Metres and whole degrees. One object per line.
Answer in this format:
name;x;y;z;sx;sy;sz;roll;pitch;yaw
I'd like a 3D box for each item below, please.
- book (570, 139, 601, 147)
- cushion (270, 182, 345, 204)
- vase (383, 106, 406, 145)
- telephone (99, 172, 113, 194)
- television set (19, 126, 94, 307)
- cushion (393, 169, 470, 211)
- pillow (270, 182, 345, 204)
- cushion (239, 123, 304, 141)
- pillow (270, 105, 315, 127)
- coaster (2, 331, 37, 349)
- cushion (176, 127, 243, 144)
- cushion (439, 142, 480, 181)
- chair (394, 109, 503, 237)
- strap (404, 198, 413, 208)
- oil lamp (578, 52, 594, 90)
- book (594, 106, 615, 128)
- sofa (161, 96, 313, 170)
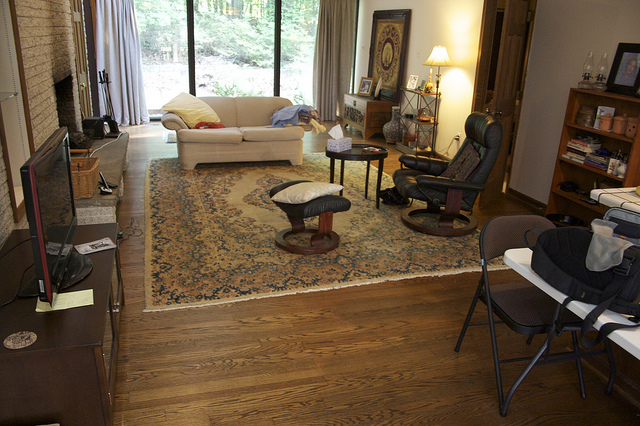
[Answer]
book;2.800;-0.734;4.669;0.274;0.045;0.123;13;25;28
cushion;-0.151;-0.182;4.227;0.662;0.179;0.320;6;23;13
vase;1.441;-1.587;8.105;0.456;0.609;0.459;19;24;38
telephone;-2.131;-0.303;4.386;0.108;0.036;0.346;-4;29;-31
television set;-1.554;0.001;2.582;0.281;0.843;0.756;-6;25;-14
cushion;1.198;-0.297;4.817;0.577;0.195;0.564;11;20;-17
pillow;-0.107;-0.208;4.174;0.348;0.093;0.330;-13;8;-23
cushion;-0.699;-1.212;6.634;0.932;0.230;0.412;-3;23;-10
pillow;-0.454;-1.498;6.752;0.494;0.150;0.381;-13;29;-17
coaster;-1.524;0.640;2.249;0.149;0.026;0.109;-4;23;-11
cushion;-1.570;-1.096;6.344;0.901;0.229;0.251;-6;24;-15
cushion;1.554;-0.516;4.791;0.126;0.388;0.374;30;21;-18
chair;1.378;-0.465;4.991;1.124;1.156;1.091;-6;21;-8
strap;1.074;-0.127;5.381;0.117;0.024;0.105;-24;8;-2
oil lamp;2.831;-1.491;4.637;0.133;0.349;0.447;14;27;27
book;2.884;-0.972;4.498;0.052;0.182;0.215;11;4;-26
sofa;-1.058;-1.379;6.996;1.889;0.841;0.847;-15;47;-40
